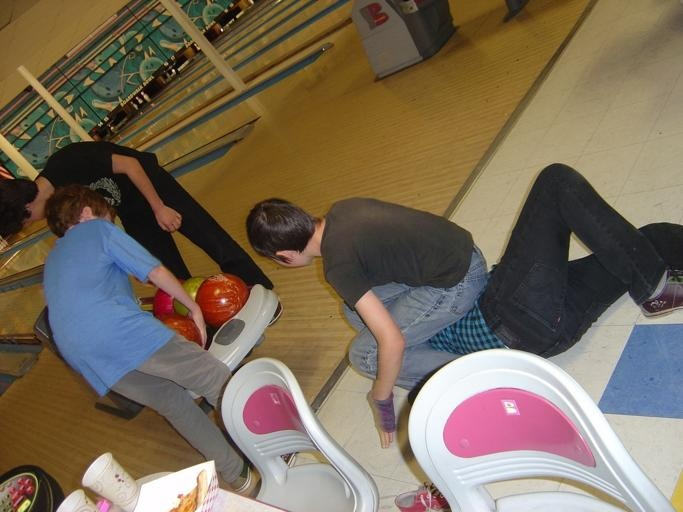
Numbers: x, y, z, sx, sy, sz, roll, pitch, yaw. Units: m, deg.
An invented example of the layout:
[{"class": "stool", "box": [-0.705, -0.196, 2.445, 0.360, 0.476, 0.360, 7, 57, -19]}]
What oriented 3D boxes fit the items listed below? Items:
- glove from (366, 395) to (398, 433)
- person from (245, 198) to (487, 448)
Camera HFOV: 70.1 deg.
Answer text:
[{"class": "glove", "box": [0.149, 0.545, 1.724, 0.082, 0.195, 0.061, -8, 30, 9]}, {"class": "person", "box": [0.098, 0.255, 1.788, 0.556, 0.807, 0.616, -33, 37, 27]}]
